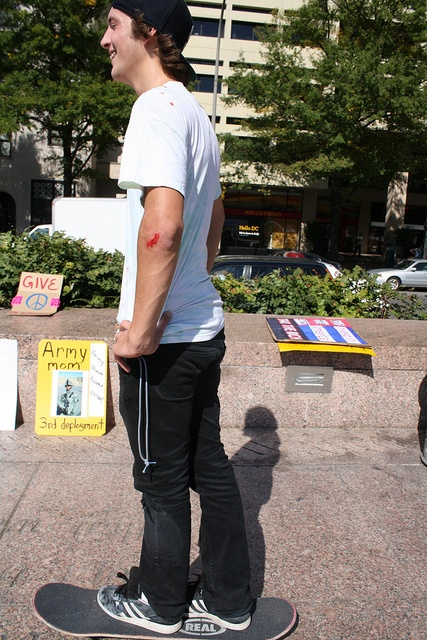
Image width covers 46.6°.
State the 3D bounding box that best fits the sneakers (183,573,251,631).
[{"bbox_3d":[-0.001,0.965,1.696,0.248,0.105,0.088,1,-2,18],"label":"sneakers"}]
